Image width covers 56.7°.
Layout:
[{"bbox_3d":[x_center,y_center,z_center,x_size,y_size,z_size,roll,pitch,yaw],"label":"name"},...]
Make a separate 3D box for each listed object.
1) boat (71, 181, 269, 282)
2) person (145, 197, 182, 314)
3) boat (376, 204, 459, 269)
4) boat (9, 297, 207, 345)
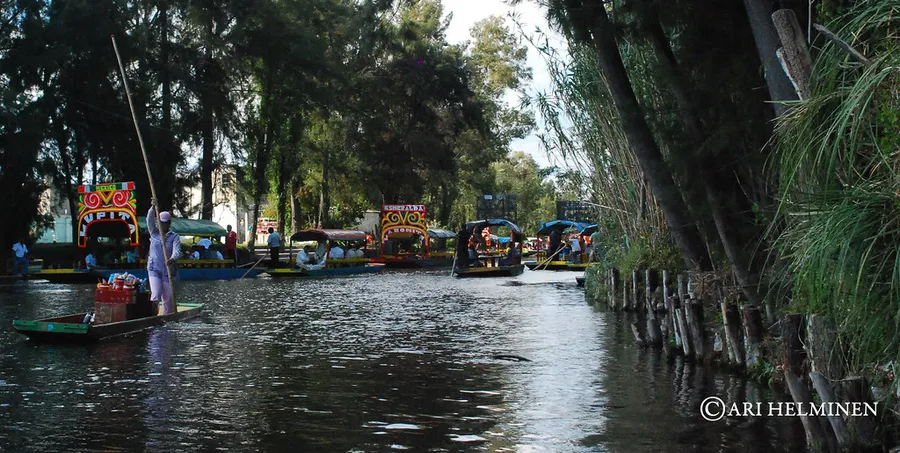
[{"bbox_3d":[-13.197,0.371,41.273,4.386,5.503,13.093,-1,-2,29],"label":"boat"},{"bbox_3d":[-8.217,0.889,24.006,0.966,3.391,1.047,0,0,10],"label":"person"},{"bbox_3d":[-2.423,0.802,52.077,3.245,2.242,4.983,0,-4,2],"label":"boat"},{"bbox_3d":[-9.241,2.591,22.926,1.653,0.649,4.308,8,11,40],"label":"boat"}]
